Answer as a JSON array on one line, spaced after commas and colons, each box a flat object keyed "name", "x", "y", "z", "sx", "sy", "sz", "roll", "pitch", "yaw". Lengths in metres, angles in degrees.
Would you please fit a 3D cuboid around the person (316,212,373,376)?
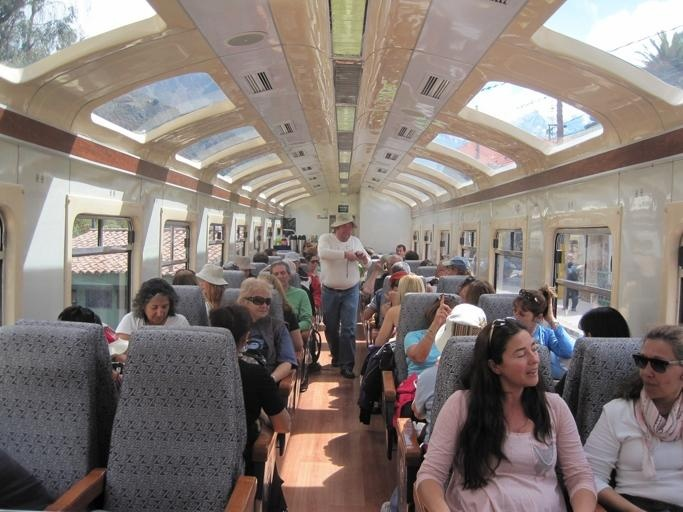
[{"name": "person", "x": -0.036, "y": 0.573, "z": 6.873, "sx": 0.871, "sy": 2.411, "sz": 1.154, "roll": -2, "pitch": 6, "yaw": -34}]

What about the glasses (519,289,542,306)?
[{"name": "glasses", "x": 1.792, "y": 0.386, "z": 4.240, "sx": 0.153, "sy": 0.052, "sz": 0.151, "roll": 27, "pitch": -8, "yaw": -31}]

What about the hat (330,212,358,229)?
[{"name": "hat", "x": -0.007, "y": -0.537, "z": 6.918, "sx": 0.292, "sy": 0.246, "sz": 0.713, "roll": 2, "pitch": 4, "yaw": 3}]

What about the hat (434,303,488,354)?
[{"name": "hat", "x": 0.891, "y": 0.570, "z": 3.505, "sx": 0.386, "sy": 0.384, "sz": 0.388, "roll": 3, "pitch": 4, "yaw": 21}]

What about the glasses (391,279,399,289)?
[{"name": "glasses", "x": 0.728, "y": 0.396, "z": 6.396, "sx": 0.091, "sy": 0.097, "sz": 0.112, "roll": -2, "pitch": 9, "yaw": 7}]

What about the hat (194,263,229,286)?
[{"name": "hat", "x": -1.595, "y": 0.269, "z": 5.431, "sx": 0.276, "sy": 0.137, "sz": 0.314, "roll": 21, "pitch": -6, "yaw": 44}]

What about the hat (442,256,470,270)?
[{"name": "hat", "x": 1.988, "y": 0.106, "z": 7.706, "sx": 0.545, "sy": 0.283, "sz": 0.381, "roll": 6, "pitch": 0, "yaw": 8}]

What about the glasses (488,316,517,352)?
[{"name": "glasses", "x": 0.895, "y": 0.436, "z": 2.529, "sx": 0.149, "sy": 0.162, "sz": 0.048, "roll": 0, "pitch": -4, "yaw": -4}]
